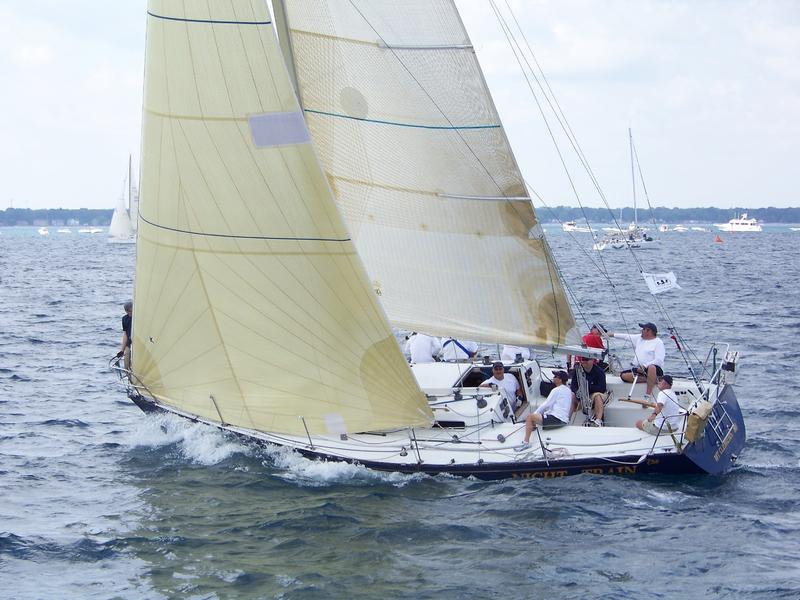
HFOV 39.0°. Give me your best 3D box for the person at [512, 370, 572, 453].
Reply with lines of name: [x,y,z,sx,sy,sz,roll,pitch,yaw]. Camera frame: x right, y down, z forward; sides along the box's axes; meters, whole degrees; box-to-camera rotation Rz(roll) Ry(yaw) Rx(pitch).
person: [2.529,1.764,19.319,1.097,1.080,0.414,-6,10,-34]

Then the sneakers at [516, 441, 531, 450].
sneakers: [2.059,2.409,18.943,0.286,0.124,0.101,-13,10,0]

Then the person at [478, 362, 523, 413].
person: [1.817,1.583,20.440,0.819,0.835,0.446,-11,3,-38]
